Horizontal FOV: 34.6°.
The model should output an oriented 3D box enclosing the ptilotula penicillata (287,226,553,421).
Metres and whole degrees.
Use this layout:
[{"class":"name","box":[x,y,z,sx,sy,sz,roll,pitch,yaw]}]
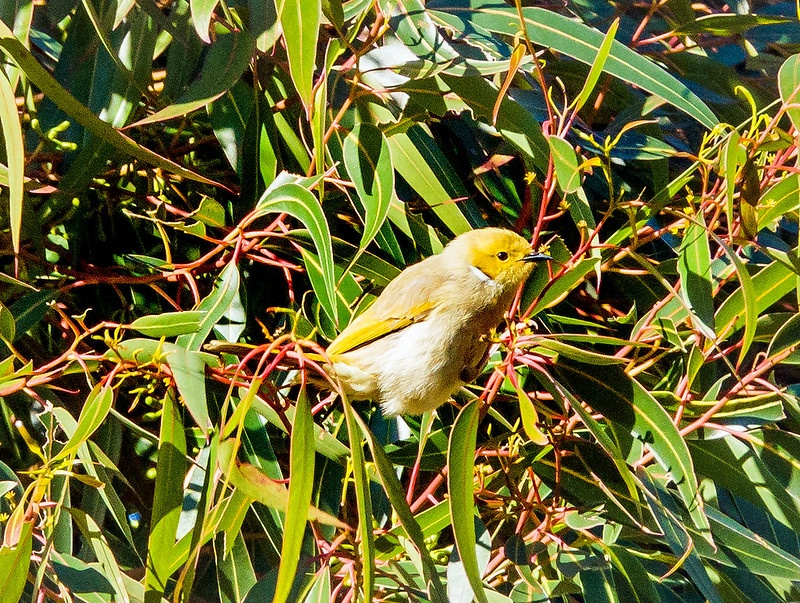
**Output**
[{"class":"ptilotula penicillata","box":[0.040,0.033,2.102,0.402,0.185,0.296,-4,77,18]}]
